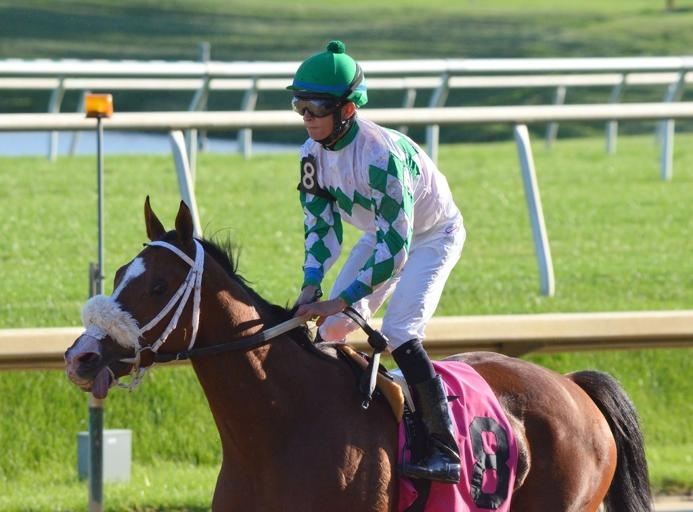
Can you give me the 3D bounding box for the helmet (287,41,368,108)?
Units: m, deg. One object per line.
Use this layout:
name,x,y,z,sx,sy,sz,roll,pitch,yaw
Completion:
helmet,-0.102,-1.215,11.023,0.482,0.476,0.564,5,3,15
